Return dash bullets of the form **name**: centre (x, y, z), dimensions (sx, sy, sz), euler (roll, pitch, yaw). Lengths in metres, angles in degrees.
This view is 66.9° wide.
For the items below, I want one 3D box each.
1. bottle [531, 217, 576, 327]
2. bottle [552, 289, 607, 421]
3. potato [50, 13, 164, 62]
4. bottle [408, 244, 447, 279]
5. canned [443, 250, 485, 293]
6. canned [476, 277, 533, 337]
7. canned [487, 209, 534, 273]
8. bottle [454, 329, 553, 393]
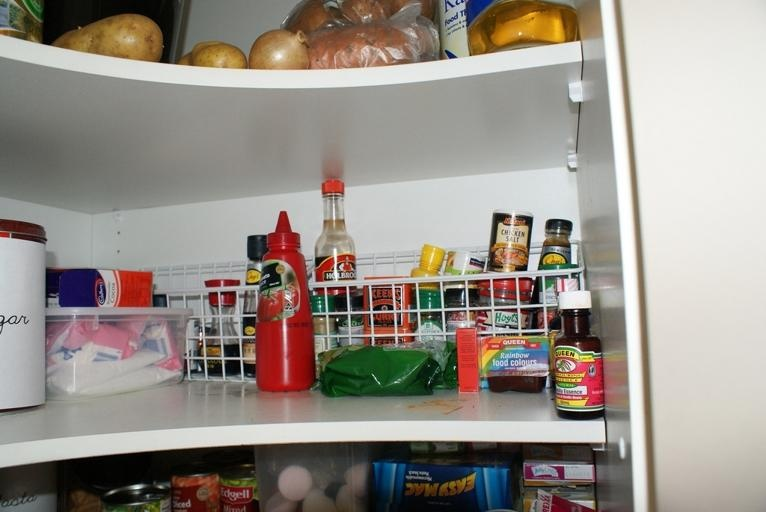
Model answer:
- **bottle**: centre (0.318, 0.030, 1.077), dimensions (0.060, 0.193, 0.057), euler (8, -12, 2)
- **bottle**: centre (0.278, 0.138, 0.837), dimensions (0.068, 0.174, 0.065), euler (-3, -3, 0)
- **potato**: centre (-0.436, -0.368, 0.968), dimensions (0.178, 0.087, 0.059), euler (-3, 17, -4)
- **bottle**: centre (0.092, 0.022, 1.153), dimensions (0.070, 0.074, 0.067), euler (14, 0, -11)
- **canned**: centre (0.157, 0.030, 1.130), dimensions (0.075, 0.072, 0.075), euler (-3, -17, 39)
- **canned**: centre (0.223, 0.088, 1.084), dimensions (0.108, 0.098, 0.096), euler (-3, -8, 6)
- **canned**: centre (0.241, -0.025, 1.104), dimensions (0.080, 0.116, 0.078), euler (6, 4, -3)
- **bottle**: centre (0.211, 0.173, 0.998), dimensions (0.174, 0.104, 0.098), euler (-1, 7, -7)
